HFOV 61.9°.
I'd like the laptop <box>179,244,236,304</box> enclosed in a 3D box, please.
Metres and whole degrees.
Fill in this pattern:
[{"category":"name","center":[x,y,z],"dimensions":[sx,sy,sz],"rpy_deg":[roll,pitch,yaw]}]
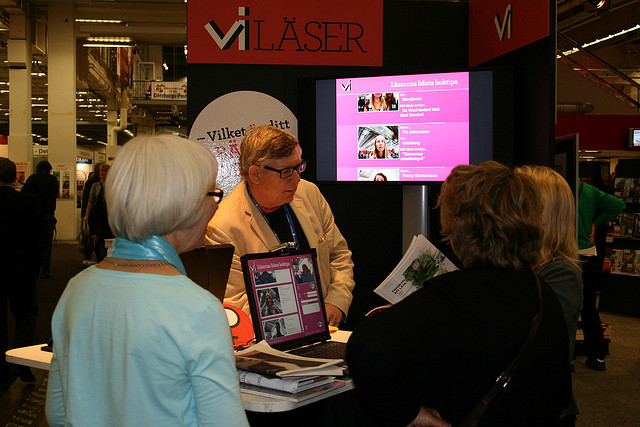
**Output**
[{"category":"laptop","center":[-0.595,0.308,2.815],"dimensions":[0.267,0.335,0.037],"rpy_deg":[-3,35,-16]}]

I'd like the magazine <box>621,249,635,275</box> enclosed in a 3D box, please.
[{"category":"magazine","center":[4.195,0.642,7.254],"dimensions":[0.149,0.308,0.164],"rpy_deg":[1,2,39]}]

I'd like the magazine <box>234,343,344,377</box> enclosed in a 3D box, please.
[{"category":"magazine","center":[-0.162,0.704,2.556],"dimensions":[0.540,0.084,0.286],"rpy_deg":[0,2,6]}]

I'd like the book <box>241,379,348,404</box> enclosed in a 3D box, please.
[{"category":"book","center":[-0.115,0.828,2.472],"dimensions":[0.493,0.064,0.115],"rpy_deg":[0,2,-7]}]

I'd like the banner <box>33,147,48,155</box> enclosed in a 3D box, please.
[{"category":"banner","center":[-8.107,-1.817,15.388],"dimensions":[0.349,0.203,0.140],"rpy_deg":[0,1,-16]}]

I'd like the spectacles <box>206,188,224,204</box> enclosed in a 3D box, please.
[{"category":"spectacles","center":[-0.450,-0.076,2.253],"dimensions":[0.063,0.068,0.022],"rpy_deg":[6,18,-15]}]

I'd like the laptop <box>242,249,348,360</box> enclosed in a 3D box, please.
[{"category":"laptop","center":[-0.219,0.466,3.002],"dimensions":[0.607,0.592,0.475],"rpy_deg":[-1,-7,-38]}]

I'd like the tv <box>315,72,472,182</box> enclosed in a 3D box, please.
[{"category":"tv","center":[0.595,-0.654,3.965],"dimensions":[0.896,0.642,0.017],"rpy_deg":[0,2,16]}]

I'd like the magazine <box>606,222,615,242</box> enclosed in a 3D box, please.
[{"category":"magazine","center":[4.152,0.261,7.598],"dimensions":[0.088,0.271,0.188],"rpy_deg":[1,1,31]}]

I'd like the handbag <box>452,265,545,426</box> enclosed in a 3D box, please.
[{"category":"handbag","center":[0.753,0.559,2.212],"dimensions":[0.400,0.628,0.095],"rpy_deg":[0,1,-16]}]

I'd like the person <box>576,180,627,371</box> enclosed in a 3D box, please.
[{"category":"person","center":[2.905,0.581,5.529],"dimensions":[0.412,1.835,1.116],"rpy_deg":[1,1,29]}]

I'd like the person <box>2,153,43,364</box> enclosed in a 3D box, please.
[{"category":"person","center":[-2.695,0.484,4.793],"dimensions":[0.299,1.477,0.208],"rpy_deg":[-1,1,-29]}]

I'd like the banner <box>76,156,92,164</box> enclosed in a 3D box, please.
[{"category":"banner","center":[-7.335,-1.664,16.464],"dimensions":[0.494,0.132,0.552],"rpy_deg":[1,1,10]}]

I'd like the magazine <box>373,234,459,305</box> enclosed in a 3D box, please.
[{"category":"magazine","center":[0.578,0.313,3.184],"dimensions":[0.560,0.373,0.142],"rpy_deg":[-1,2,-37]}]
